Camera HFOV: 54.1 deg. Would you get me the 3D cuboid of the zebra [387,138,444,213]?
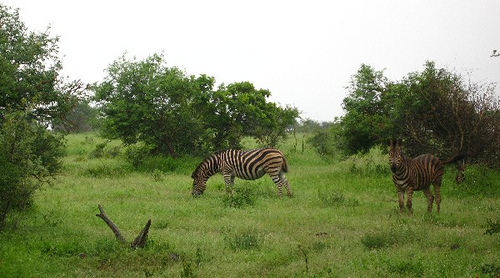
[{"bbox_3d":[8.024,2.019,23.900,5.040,3.463,1.428,3,-5,-41],"label":"zebra"}]
